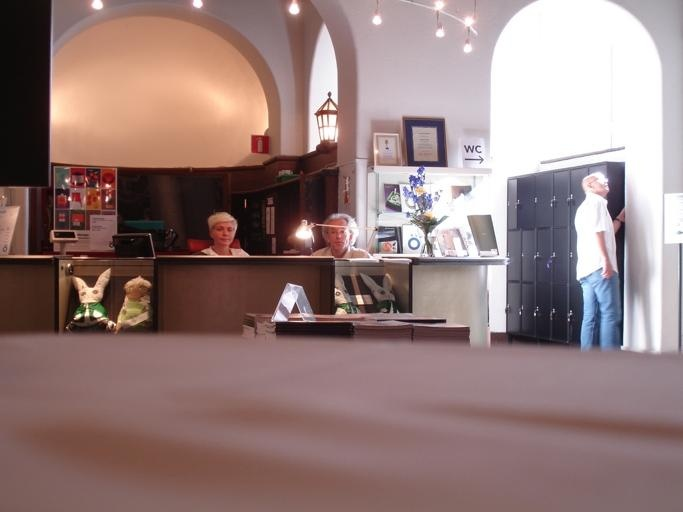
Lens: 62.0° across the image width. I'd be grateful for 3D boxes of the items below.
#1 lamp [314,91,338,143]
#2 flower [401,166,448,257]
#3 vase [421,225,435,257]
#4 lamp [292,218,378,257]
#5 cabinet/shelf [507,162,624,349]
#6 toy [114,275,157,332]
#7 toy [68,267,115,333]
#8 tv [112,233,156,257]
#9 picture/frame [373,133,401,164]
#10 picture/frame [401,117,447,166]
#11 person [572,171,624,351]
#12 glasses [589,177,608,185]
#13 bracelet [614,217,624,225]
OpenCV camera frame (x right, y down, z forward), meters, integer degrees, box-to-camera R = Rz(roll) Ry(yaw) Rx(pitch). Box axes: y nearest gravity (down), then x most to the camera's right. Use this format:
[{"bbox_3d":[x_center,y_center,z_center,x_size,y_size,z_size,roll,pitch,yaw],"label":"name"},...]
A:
[{"bbox_3d":[-0.168,-1.480,6.066,0.211,0.420,0.603,0,1,-3],"label":"lamp"},{"bbox_3d":[0.646,-0.365,4.514,0.346,0.708,0.621,0,1,7],"label":"flower"},{"bbox_3d":[0.678,-0.119,4.424,0.091,0.220,0.384,0,1,9],"label":"vase"},{"bbox_3d":[-0.025,-0.143,3.832,0.425,0.215,1.020,0,2,3],"label":"lamp"},{"bbox_3d":[2.159,-0.027,5.409,0.536,2.186,1.694,2,-4,-9],"label":"cabinet/shelf"},{"bbox_3d":[-0.939,0.217,2.560,0.123,0.228,0.311,0,1,0],"label":"toy"},{"bbox_3d":[-1.130,0.201,2.558,0.191,0.276,0.509,0,1,-27],"label":"toy"},{"bbox_3d":[-0.995,-0.061,2.759,0.138,0.150,0.122,1,9,-3],"label":"tv"},{"bbox_3d":[0.370,-0.891,4.750,0.231,0.299,0.029,1,-16,-19],"label":"picture/frame"},{"bbox_3d":[0.682,-0.955,4.829,0.388,0.558,0.051,2,-18,-14],"label":"picture/frame"},{"bbox_3d":[2.295,0.012,5.100,0.373,1.585,0.543,0,0,27],"label":"person"},{"bbox_3d":[2.357,-0.685,5.164,0.104,0.095,0.081,-7,10,-35],"label":"glasses"},{"bbox_3d":[2.601,-0.323,5.344,0.052,0.046,0.053,-2,7,-27],"label":"bracelet"}]
